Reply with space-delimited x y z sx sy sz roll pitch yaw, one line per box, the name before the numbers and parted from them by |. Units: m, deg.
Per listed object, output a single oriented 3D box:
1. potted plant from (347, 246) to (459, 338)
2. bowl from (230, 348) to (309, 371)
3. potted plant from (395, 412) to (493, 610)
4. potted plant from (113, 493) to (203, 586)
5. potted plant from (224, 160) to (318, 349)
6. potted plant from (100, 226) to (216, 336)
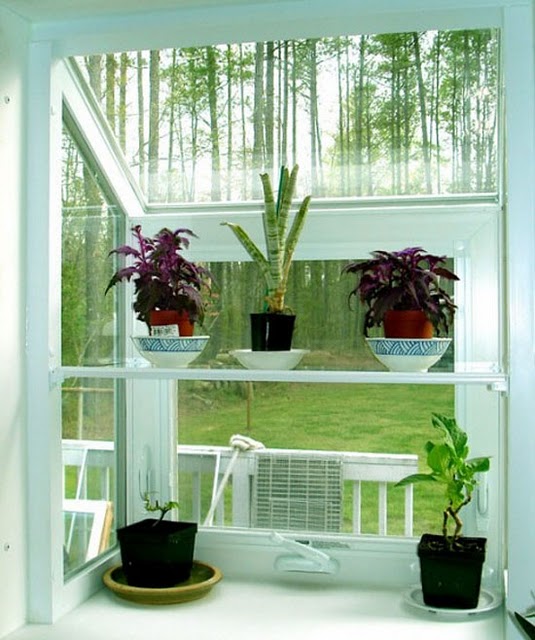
potted plant | 0.280 -0.034 1.531 0.230 0.166 0.236 1 -4 6
bowl | 0.001 0.086 1.579 0.153 0.048 0.048 -2 12 2
potted plant | 0.378 0.408 1.616 0.238 0.417 0.216 -4 -9 23
potted plant | -0.254 0.513 1.724 0.233 0.174 0.229 -3 -6 25
potted plant | -0.002 -0.128 1.717 0.216 0.445 0.402 -2 12 3
potted plant | -0.233 -0.054 1.681 0.223 0.251 0.249 -9 14 -9
